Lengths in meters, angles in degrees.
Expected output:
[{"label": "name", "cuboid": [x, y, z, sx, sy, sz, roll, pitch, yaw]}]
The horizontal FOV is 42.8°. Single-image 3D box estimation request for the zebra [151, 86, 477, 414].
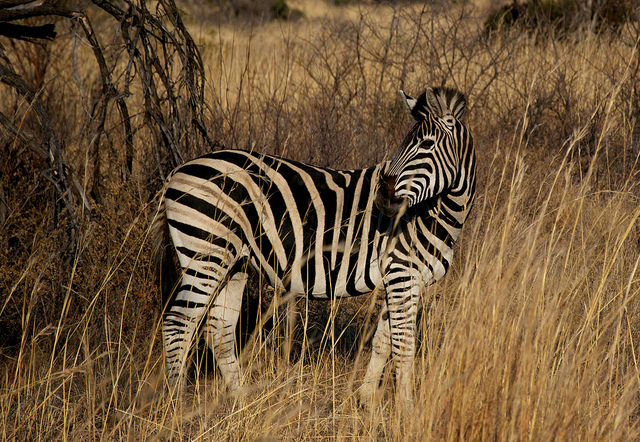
[{"label": "zebra", "cuboid": [-0.084, 0.346, 6.756, 1.928, 2.460, 0.975, 2, -12, -5]}]
